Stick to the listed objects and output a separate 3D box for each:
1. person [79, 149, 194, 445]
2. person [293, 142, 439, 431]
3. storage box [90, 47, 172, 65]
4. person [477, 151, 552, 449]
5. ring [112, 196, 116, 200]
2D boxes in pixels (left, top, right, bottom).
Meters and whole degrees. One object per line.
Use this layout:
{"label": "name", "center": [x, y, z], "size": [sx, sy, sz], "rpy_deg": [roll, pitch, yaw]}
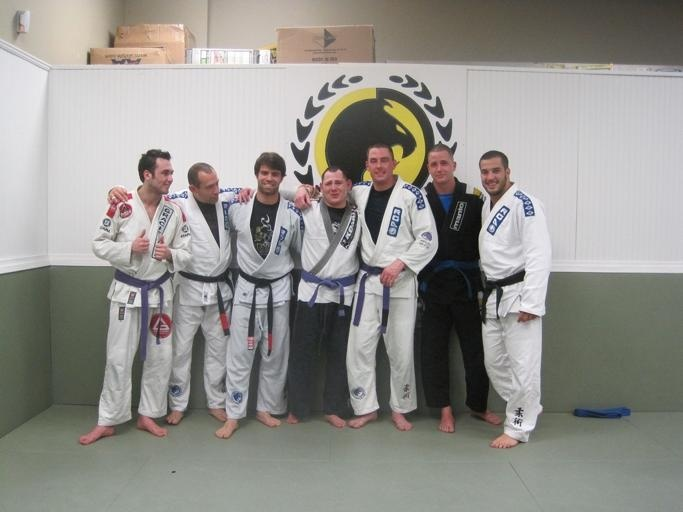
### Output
{"label": "person", "center": [-1.562, 0.300, 4.523], "size": [0.768, 2.214, 0.361], "rpy_deg": [-2, 9, -17]}
{"label": "person", "center": [0.405, 0.247, 4.705], "size": [0.683, 2.253, 0.397], "rpy_deg": [1, 8, 2]}
{"label": "storage box", "center": [-1.956, -1.827, 5.266], "size": [0.402, 0.113, 0.396], "rpy_deg": [0, 9, -3]}
{"label": "person", "center": [1.352, 0.311, 4.593], "size": [0.482, 2.237, 0.602], "rpy_deg": [0, 8, -8]}
{"label": "ring", "center": [-1.738, -0.446, 4.466], "size": [0.047, 0.026, 0.010], "rpy_deg": [0, 8, -6]}
